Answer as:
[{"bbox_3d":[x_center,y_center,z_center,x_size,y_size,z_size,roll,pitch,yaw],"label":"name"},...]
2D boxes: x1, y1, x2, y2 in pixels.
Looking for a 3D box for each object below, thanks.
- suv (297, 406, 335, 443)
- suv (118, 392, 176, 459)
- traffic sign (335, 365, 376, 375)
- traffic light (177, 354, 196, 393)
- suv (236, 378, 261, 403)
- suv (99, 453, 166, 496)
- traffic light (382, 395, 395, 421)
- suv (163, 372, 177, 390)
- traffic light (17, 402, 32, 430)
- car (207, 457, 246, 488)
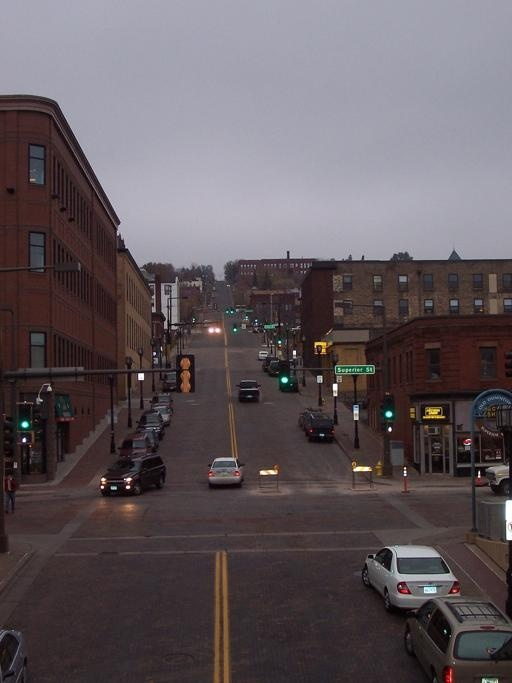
[{"bbox_3d":[3.962,5.723,54.676,1.505,2.109,3.469,-1,-1,-9],"label":"suv"},{"bbox_3d":[-6.569,5.684,50.626,1.401,1.522,9.084,-2,5,0],"label":"suv"},{"bbox_3d":[4.956,1.483,41.815,1.112,0.465,2.740,-3,-2,44],"label":"traffic sign"},{"bbox_3d":[-2.154,1.021,25.395,0.486,1.143,0.972,-1,-1,-9],"label":"traffic light"},{"bbox_3d":[-0.647,4.557,72.991,1.725,1.920,2.131,-1,-1,-3],"label":"suv"},{"bbox_3d":[-5.199,5.762,35.897,1.233,1.373,2.947,-3,-10,9],"label":"suv"},{"bbox_3d":[6.328,3.235,40.223,0.453,1.216,0.867,-1,-1,3],"label":"traffic light"},{"bbox_3d":[-7.360,3.511,71.513,1.544,1.702,3.907,0,-6,-10],"label":"suv"},{"bbox_3d":[-6.887,2.318,25.033,0.369,0.822,1.271,-1,-1,-15],"label":"traffic light"},{"bbox_3d":[-1.363,5.980,37.336,1.474,1.272,1.711,-1,-1,-7],"label":"car"}]
